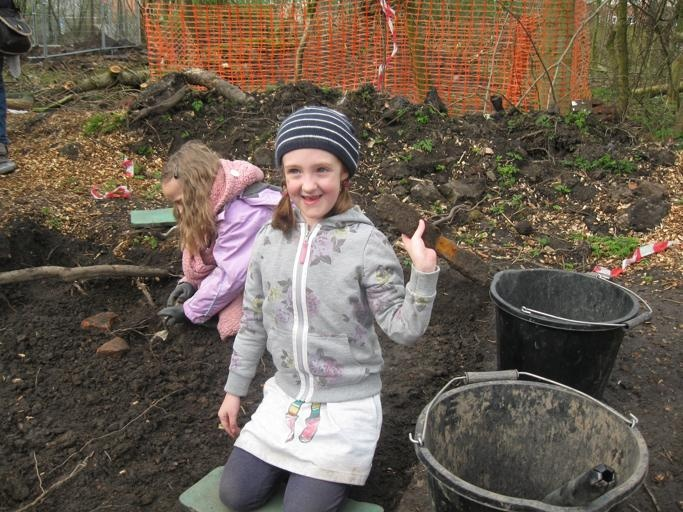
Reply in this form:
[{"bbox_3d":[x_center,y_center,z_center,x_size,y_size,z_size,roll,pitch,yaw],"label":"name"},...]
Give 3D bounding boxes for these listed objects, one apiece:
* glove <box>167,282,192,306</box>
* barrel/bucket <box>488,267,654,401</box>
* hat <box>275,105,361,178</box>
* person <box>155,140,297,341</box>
[{"bbox_3d":[-1.215,0.276,4.837,0.138,0.184,0.084,31,5,8],"label":"glove"},{"bbox_3d":[1.343,0.463,4.061,0.924,0.751,0.855,0,24,0],"label":"barrel/bucket"},{"bbox_3d":[-0.130,-0.596,3.370,0.440,0.371,0.202,-1,16,-5],"label":"hat"},{"bbox_3d":[-0.837,-0.166,4.739,1.038,1.349,1.051,6,24,23],"label":"person"}]
